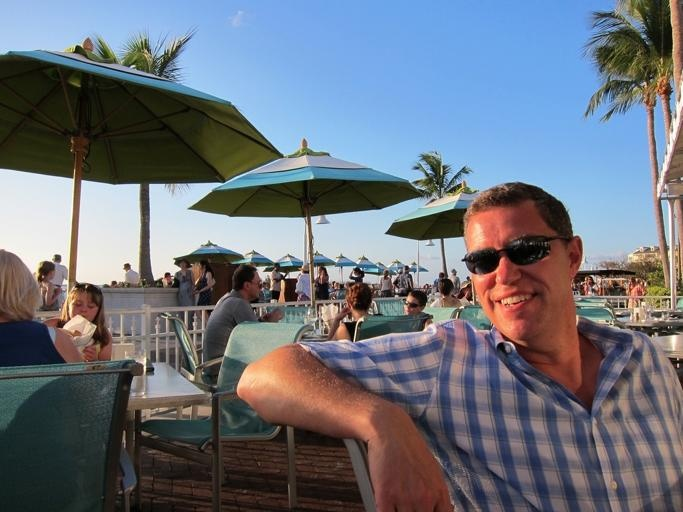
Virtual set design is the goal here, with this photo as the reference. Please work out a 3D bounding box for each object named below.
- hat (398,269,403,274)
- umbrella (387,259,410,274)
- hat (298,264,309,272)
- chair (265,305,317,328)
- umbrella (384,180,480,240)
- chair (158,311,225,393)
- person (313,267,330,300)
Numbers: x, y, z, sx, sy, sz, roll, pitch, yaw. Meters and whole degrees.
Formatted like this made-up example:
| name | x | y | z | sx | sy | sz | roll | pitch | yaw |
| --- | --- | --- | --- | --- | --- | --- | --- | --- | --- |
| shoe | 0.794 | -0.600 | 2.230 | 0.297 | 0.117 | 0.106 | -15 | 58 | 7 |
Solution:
| name | x | y | z | sx | sy | sz | roll | pitch | yaw |
| --- | --- | --- | --- | --- | --- | --- | --- | --- | --- |
| hat | 3.810 | 1.020 | 33.954 | 0.396 | 0.190 | 0.541 | -5 | -3 | 3 |
| umbrella | 4.838 | 1.018 | 46.624 | 2.273 | 1.096 | 2.283 | -1 | -8 | 4 |
| hat | -0.970 | 0.389 | 13.297 | 0.268 | 0.292 | 0.258 | 1 | 13 | -5 |
| chair | -0.534 | 0.757 | 6.786 | 0.424 | 0.218 | 0.618 | 5 | -9 | -41 |
| umbrella | 1.989 | -0.663 | 9.375 | 2.127 | 0.804 | 2.322 | -2 | -9 | 20 |
| chair | -1.401 | 0.900 | 4.948 | 0.744 | 0.887 | 0.608 | -1 | -4 | -15 |
| person | -0.565 | 1.030 | 16.164 | 0.449 | 1.451 | 0.473 | -4 | 15 | -10 |
